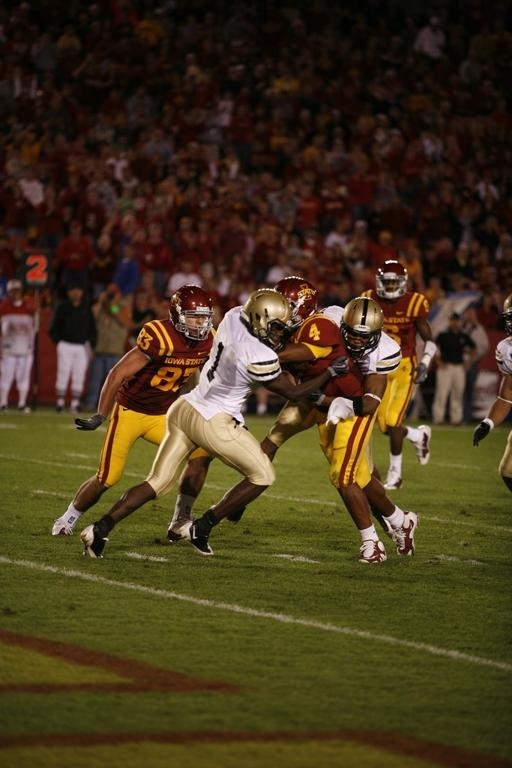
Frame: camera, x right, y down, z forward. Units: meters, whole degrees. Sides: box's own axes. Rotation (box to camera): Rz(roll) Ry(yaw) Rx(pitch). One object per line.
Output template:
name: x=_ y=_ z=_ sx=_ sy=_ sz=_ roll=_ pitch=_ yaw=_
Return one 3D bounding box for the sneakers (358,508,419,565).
sneakers: x=0.705 y=0.698 z=3.925 sx=0.153 sy=0.393 sz=0.198 roll=-1 pitch=1 yaw=44

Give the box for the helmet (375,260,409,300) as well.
helmet: x=1.096 y=-0.879 z=6.340 sx=0.273 sy=0.265 sz=0.338 roll=0 pitch=13 yaw=4

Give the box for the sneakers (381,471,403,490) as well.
sneakers: x=1.120 y=0.786 z=6.254 sx=0.117 sy=0.111 sz=0.291 roll=-1 pitch=-3 yaw=10

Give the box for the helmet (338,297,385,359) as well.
helmet: x=0.545 y=-0.273 z=3.925 sx=0.239 sy=0.285 sz=0.276 roll=9 pitch=-39 yaw=9

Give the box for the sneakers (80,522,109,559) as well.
sneakers: x=-0.772 y=0.754 z=3.622 sx=0.113 sy=0.083 sz=0.240 roll=-30 pitch=32 yaw=-12

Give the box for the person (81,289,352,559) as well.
person: x=-0.211 y=0.197 z=3.695 sx=1.027 sy=1.077 sz=0.532 roll=4 pitch=1 yaw=9

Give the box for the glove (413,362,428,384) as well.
glove: x=1.391 y=-0.093 z=6.380 sx=0.141 sy=0.161 sz=0.062 roll=7 pitch=-23 yaw=3

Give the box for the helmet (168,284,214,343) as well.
helmet: x=-0.325 y=-0.388 z=3.903 sx=0.211 sy=0.205 sz=0.281 roll=-10 pitch=28 yaw=-41

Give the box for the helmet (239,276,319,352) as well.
helmet: x=0.185 y=-0.464 z=4.177 sx=0.261 sy=0.302 sz=0.327 roll=16 pitch=-11 yaw=30
